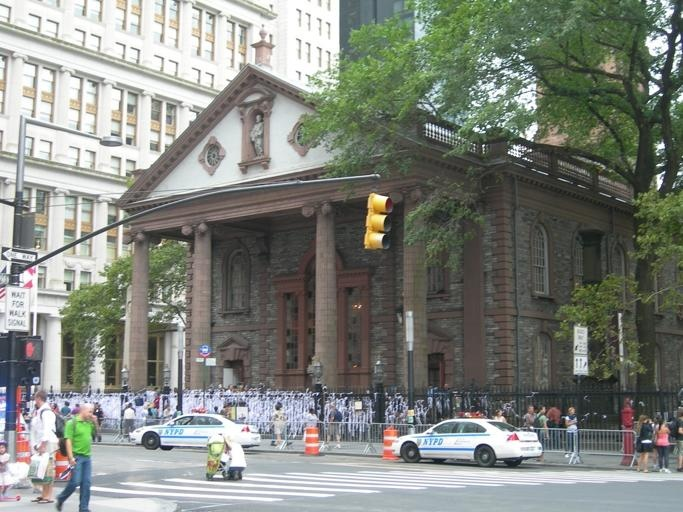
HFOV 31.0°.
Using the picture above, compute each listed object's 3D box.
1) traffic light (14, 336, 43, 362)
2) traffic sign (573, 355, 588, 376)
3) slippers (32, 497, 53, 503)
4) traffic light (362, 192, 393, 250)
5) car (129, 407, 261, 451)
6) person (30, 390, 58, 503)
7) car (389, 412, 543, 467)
[{"bbox_3d":[-10.090,2.999,39.661,0.483,0.766,0.856,-7,-11,34],"label":"traffic light"},{"bbox_3d":[9.154,4.083,47.101,0.311,0.713,0.911,-11,-17,30],"label":"traffic sign"},{"bbox_3d":[-8.991,7.354,37.224,0.453,0.214,0.576,6,-16,-30],"label":"slippers"},{"bbox_3d":[1.202,-1.067,38.446,0.735,1.659,0.636,9,4,38],"label":"traffic light"},{"bbox_3d":[-6.224,7.393,52.324,5.480,1.532,1.109,-10,-17,32],"label":"car"},{"bbox_3d":[-9.126,5.977,39.128,1.092,3.505,1.412,4,-8,-31],"label":"person"},{"bbox_3d":[4.986,7.076,47.416,4.971,1.392,2.064,-5,-15,30],"label":"car"}]
